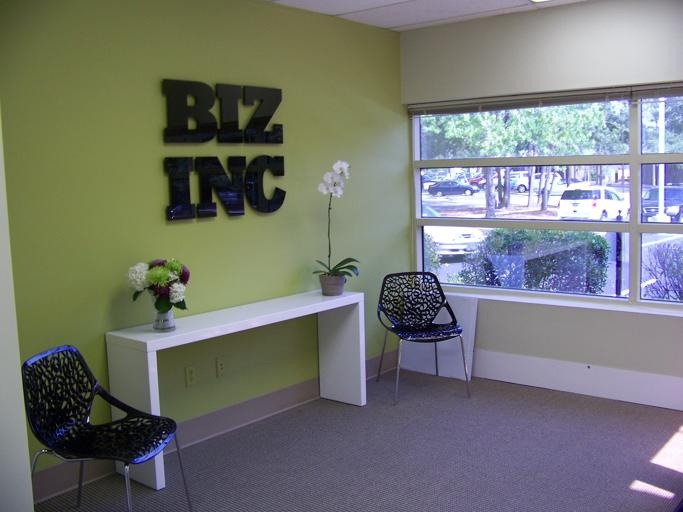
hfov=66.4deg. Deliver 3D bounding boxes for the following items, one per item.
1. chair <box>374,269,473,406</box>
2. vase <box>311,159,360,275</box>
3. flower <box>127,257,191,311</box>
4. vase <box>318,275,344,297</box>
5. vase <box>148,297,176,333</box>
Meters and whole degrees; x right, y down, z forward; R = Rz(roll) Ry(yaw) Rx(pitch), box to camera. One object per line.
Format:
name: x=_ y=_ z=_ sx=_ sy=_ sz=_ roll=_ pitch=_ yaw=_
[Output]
chair: x=0.699 y=0.655 z=4.637 sx=0.853 sy=0.983 sz=0.870 roll=2 pitch=10 yaw=18
vase: x=-0.052 y=-0.277 z=4.393 sx=0.381 sy=1.033 sz=0.669 roll=-1 pitch=10 yaw=1
flower: x=-1.142 y=0.134 z=3.294 sx=0.307 sy=0.339 sz=0.316 roll=3 pitch=4 yaw=28
vase: x=-0.080 y=0.230 z=4.157 sx=0.163 sy=0.134 sz=0.172 roll=2 pitch=-2 yaw=-2
vase: x=-1.111 y=0.369 z=3.268 sx=0.166 sy=0.245 sz=0.164 roll=0 pitch=-1 yaw=20
